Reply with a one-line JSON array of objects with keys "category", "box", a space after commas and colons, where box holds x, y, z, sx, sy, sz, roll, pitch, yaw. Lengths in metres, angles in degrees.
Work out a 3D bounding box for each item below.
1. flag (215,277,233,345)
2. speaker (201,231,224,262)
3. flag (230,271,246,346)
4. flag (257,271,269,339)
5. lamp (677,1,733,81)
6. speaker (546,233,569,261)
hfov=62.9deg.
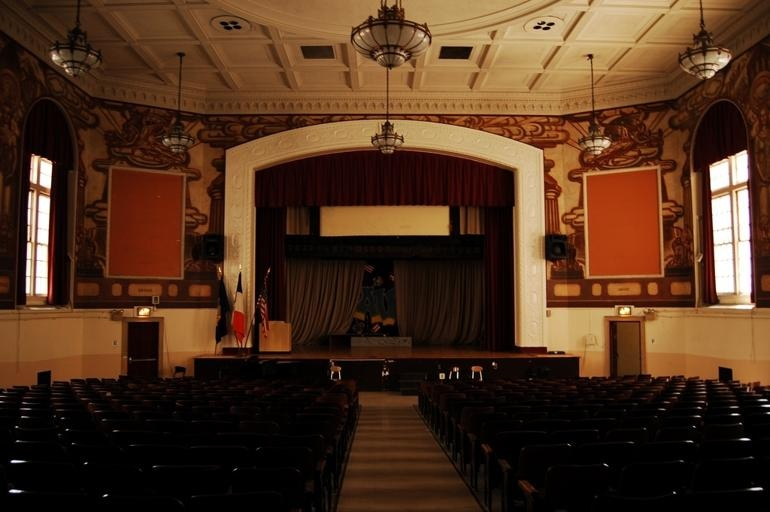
[{"category": "flag", "box": [-5.520, 1.803, 21.634, 0.503, 2.328, 0.335, 2, -7, -13]}, {"category": "speaker", "box": [-6.191, -0.285, 21.798, 0.812, 1.122, 0.890, 1, -6, -18]}, {"category": "flag", "box": [-4.973, 1.764, 21.559, 0.519, 2.691, 0.682, 1, -7, -13]}, {"category": "flag", "box": [-4.243, 1.552, 22.070, 0.460, 2.460, 1.730, 1, -7, -11]}, {"category": "lamp", "box": [7.097, -4.703, 13.978, 0.774, 1.296, 0.740, 4, -8, -31]}, {"category": "speaker", "box": [6.022, -0.300, 21.956, 0.761, 1.043, 0.880, 0, -3, -2]}]
